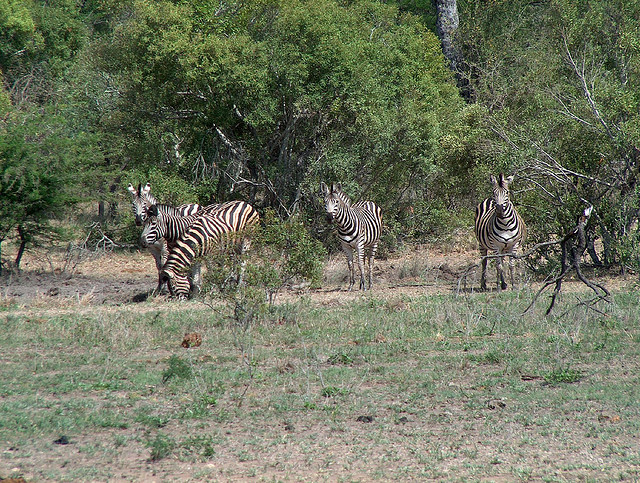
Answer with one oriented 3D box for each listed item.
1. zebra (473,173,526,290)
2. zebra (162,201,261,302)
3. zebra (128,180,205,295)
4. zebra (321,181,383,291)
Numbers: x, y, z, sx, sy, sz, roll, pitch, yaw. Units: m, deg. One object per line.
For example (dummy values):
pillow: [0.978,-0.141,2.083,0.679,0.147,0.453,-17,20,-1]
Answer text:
zebra: [4.657,-0.182,19.629,1.180,3.079,2.839,1,5,12]
zebra: [-2.662,0.305,20.271,1.404,2.954,5.213,1,5,22]
zebra: [-3.892,-0.149,19.978,0.837,2.797,3.775,11,17,10]
zebra: [1.031,-0.020,21.697,0.970,3.002,3.556,0,-1,26]
